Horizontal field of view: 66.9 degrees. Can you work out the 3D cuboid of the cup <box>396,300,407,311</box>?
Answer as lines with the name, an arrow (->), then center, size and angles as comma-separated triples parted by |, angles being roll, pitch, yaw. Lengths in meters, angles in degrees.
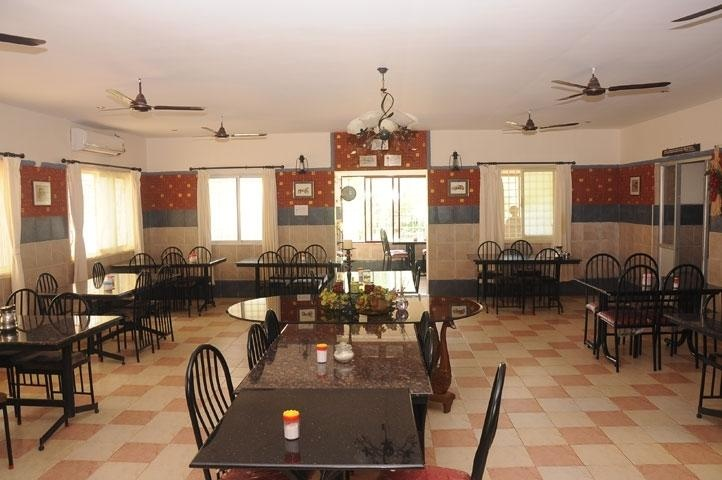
cup -> 0.472, 0.753, 6.304 | 0.110, 0.192, 0.130 | 0, -5, 3

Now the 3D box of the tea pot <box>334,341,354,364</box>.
tea pot -> -0.163, 1.088, 5.252 | 0.179, 0.148, 0.175 | 1, -3, 0

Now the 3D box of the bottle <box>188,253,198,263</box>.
bottle -> -3.081, 0.340, 10.130 | 0.199, 0.206, 0.195 | 3, -4, -38

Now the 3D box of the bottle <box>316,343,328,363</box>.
bottle -> -0.362, 1.094, 5.278 | 0.157, 0.165, 0.154 | 1, -2, -1

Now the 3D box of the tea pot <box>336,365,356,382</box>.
tea pot -> -0.144, 1.229, 5.051 | 0.176, 0.103, 0.265 | -3, 2, -2

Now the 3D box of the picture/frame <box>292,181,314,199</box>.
picture/frame -> -1.128, -1.020, 10.876 | 0.363, 0.287, 0.040 | 0, 0, 0

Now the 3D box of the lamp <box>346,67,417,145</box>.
lamp -> 0.283, -1.779, 7.055 | 0.899, 0.801, 0.870 | 12, 18, 40

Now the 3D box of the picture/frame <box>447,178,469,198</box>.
picture/frame -> 1.920, -1.055, 10.789 | 0.367, 0.306, 0.026 | 0, 2, -1

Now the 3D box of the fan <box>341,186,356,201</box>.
fan -> -0.302, -1.215, 14.029 | 0.319, 0.361, 0.835 | -3, 2, 5

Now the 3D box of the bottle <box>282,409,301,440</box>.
bottle -> -0.562, 1.480, 4.443 | 0.142, 0.233, 0.180 | -3, 3, -7

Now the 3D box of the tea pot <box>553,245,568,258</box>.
tea pot -> 3.760, 0.226, 10.233 | 0.266, 0.309, 0.351 | 6, 14, 22

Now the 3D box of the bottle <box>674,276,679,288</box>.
bottle -> 4.194, 0.559, 7.263 | 0.068, 0.158, 0.187 | -1, 3, 30

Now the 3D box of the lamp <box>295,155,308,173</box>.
lamp -> -1.171, -1.503, 10.825 | 0.226, 0.366, 0.095 | -4, 3, -10
